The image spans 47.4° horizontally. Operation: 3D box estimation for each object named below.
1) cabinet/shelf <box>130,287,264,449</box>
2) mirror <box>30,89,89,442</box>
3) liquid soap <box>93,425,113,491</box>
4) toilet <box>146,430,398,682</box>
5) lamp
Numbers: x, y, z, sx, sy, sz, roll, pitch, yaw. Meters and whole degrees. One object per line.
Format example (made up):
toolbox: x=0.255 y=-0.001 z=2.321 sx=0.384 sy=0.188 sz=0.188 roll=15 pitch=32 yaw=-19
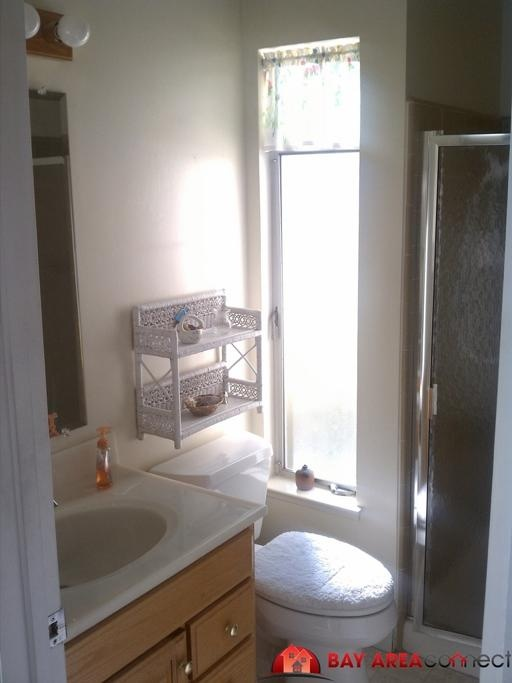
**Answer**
cabinet/shelf: x=-0.172 y=0.063 z=1.802 sx=0.129 sy=0.419 sz=0.398 roll=4 pitch=12 yaw=35
mirror: x=-0.480 y=-0.179 z=1.398 sx=0.038 sy=0.804 sz=0.163 roll=3 pitch=5 yaw=28
liquid soap: x=-0.393 y=0.280 z=1.487 sx=0.038 sy=0.147 sz=0.130 roll=0 pitch=6 yaw=-15
toilet: x=0.122 y=0.412 z=1.661 sx=0.612 sy=0.821 sz=0.379 roll=5 pitch=14 yaw=37
lamp: x=-0.470 y=-0.683 z=1.310 sx=0.075 sy=0.103 sz=0.117 roll=1 pitch=6 yaw=-4
